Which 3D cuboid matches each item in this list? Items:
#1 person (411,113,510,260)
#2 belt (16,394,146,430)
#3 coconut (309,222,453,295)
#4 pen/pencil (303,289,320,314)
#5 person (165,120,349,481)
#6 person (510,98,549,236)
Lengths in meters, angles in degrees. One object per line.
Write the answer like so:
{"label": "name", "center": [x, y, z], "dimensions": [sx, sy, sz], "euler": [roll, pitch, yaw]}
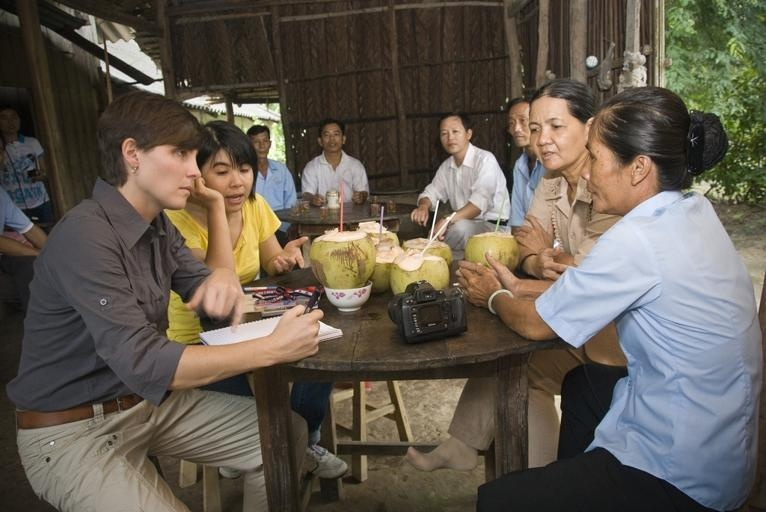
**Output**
{"label": "person", "center": [0.625, -0.500, 5.519], "dimensions": [0.835, 1.506, 1.022], "euler": [7, 33, 7]}
{"label": "belt", "center": [-1.185, 0.595, 2.175], "dimensions": [0.403, 0.126, 0.370], "euler": [1, 3, -28]}
{"label": "coconut", "center": [-0.021, 0.029, 2.407], "dimensions": [0.528, 0.238, 0.297], "euler": [5, 3, -13]}
{"label": "pen/pencil", "center": [-0.310, 0.211, 2.431], "dimensions": [0.028, 0.026, 0.174], "euler": [24, -27, -7]}
{"label": "person", "center": [-0.801, 0.223, 3.234], "dimensions": [1.145, 1.889, 1.201], "euler": [0, 12, 17]}
{"label": "person", "center": [1.105, -0.622, 4.148], "dimensions": [0.286, 1.052, 0.418], "euler": [-5, 14, -18]}
